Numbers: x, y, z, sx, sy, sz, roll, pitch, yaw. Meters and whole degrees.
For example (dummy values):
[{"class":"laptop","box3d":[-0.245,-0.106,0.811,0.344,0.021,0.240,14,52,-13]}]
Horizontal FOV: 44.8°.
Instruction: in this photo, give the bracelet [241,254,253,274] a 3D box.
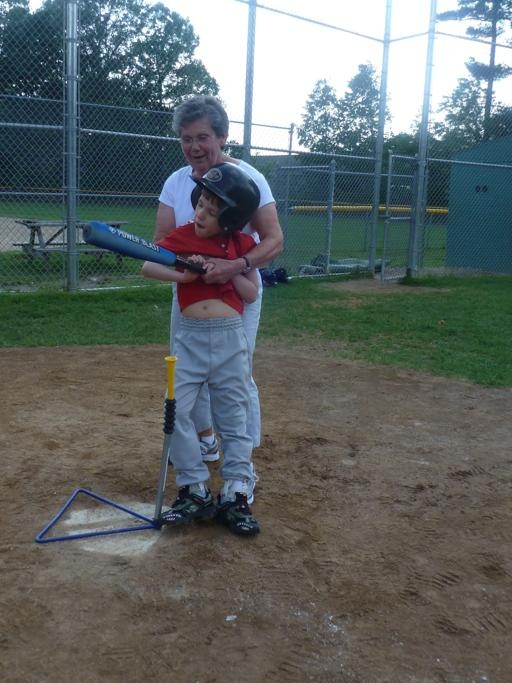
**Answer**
[{"class":"bracelet","box3d":[-0.033,-0.296,2.366,0.046,0.058,0.065,-1,-11,0]}]

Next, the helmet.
[{"class":"helmet","box3d":[-0.099,-0.512,2.241,0.122,0.240,0.212,15,18,37]}]

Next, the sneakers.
[{"class":"sneakers","box3d":[-0.162,0.624,2.391,0.460,0.188,0.152,13,-25,-15]}]

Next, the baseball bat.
[{"class":"baseball bat","box3d":[-0.383,-0.297,2.033,0.209,0.183,0.516,9,14,24]}]
